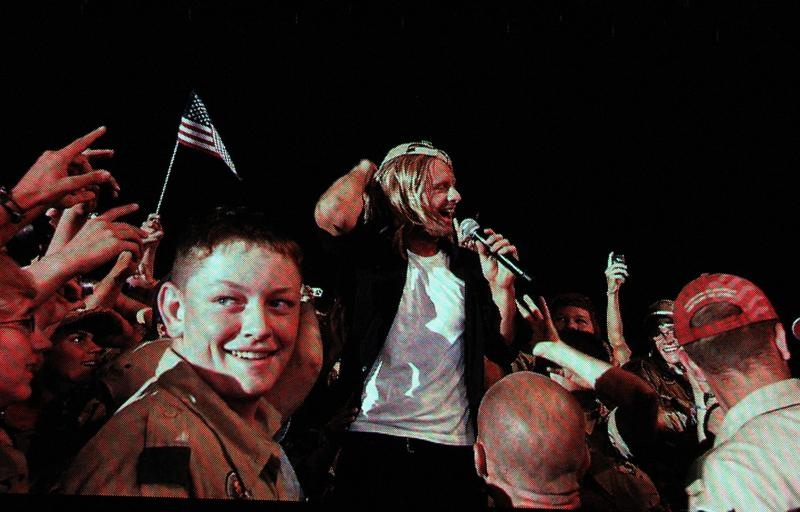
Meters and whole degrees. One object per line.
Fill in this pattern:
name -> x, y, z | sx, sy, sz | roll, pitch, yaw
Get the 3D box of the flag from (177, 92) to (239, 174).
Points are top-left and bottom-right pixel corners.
flag -> -1.558, -0.972, 5.800 | 0.468, 0.466, 0.036 | 27, -22, -10

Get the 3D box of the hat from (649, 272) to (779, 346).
hat -> 2.368, 0.402, 5.632 | 0.753, 0.545, 1.188 | -22, -13, 13

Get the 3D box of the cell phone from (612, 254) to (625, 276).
cell phone -> 1.796, 0.069, 5.894 | 0.103, 0.145, 0.042 | -4, 1, 5
